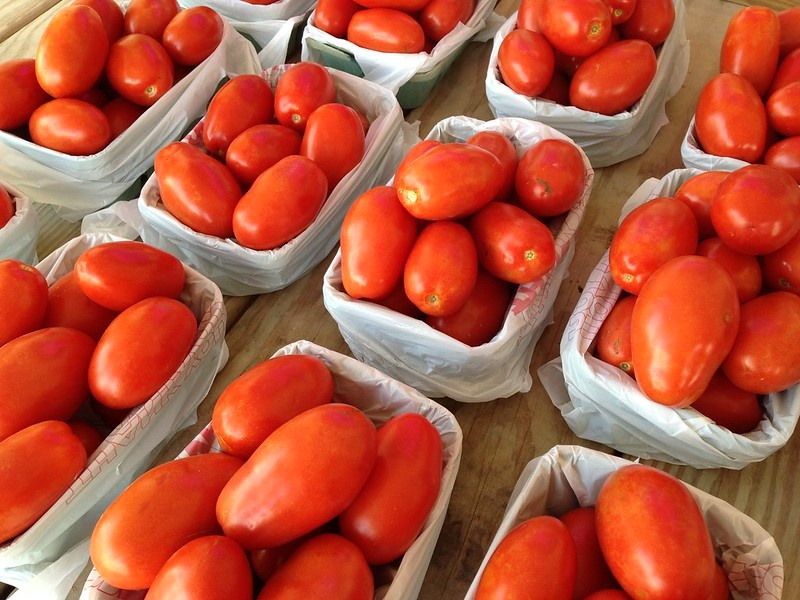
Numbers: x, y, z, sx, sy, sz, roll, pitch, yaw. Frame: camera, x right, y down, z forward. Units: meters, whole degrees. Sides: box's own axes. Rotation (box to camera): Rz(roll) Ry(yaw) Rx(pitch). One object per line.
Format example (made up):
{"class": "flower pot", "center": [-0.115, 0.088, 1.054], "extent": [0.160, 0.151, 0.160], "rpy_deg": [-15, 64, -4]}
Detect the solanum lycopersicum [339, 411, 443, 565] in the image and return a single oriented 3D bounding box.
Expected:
{"class": "solanum lycopersicum", "center": [-0.002, 0.257, 0.947], "extent": [0.103, 0.111, 0.226], "rpy_deg": [26, 62, -8]}

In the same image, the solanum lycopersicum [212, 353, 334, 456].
{"class": "solanum lycopersicum", "center": [-0.189, 0.145, 0.998], "extent": [0.165, 0.113, 0.106], "rpy_deg": [-29, 104, -22]}

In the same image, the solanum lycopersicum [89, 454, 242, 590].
{"class": "solanum lycopersicum", "center": [-0.319, 0.289, 0.914], "extent": [0.207, 0.118, 0.123], "rpy_deg": [-38, 74, -20]}

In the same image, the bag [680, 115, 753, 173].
{"class": "bag", "center": [0.619, -0.283, 1.293], "extent": [0.098, 0.091, 0.139], "rpy_deg": [12, 76, 31]}

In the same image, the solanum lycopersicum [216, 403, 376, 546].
{"class": "solanum lycopersicum", "center": [-0.129, 0.230, 0.901], "extent": [0.211, 0.131, 0.139], "rpy_deg": [-36, 77, 2]}
